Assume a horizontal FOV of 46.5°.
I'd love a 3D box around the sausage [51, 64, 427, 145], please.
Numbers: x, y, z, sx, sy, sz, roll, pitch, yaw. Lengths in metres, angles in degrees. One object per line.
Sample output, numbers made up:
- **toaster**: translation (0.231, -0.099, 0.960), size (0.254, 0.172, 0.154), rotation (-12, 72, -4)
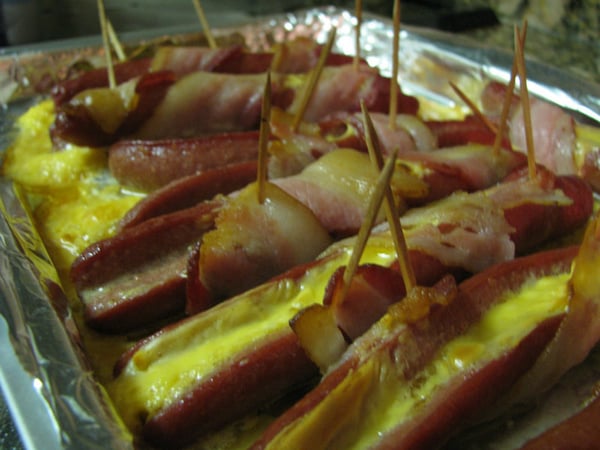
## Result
- **sausage**: translation (-0.150, -0.259, 1.547), size (0.566, 0.155, 0.149), rotation (-6, 25, -22)
